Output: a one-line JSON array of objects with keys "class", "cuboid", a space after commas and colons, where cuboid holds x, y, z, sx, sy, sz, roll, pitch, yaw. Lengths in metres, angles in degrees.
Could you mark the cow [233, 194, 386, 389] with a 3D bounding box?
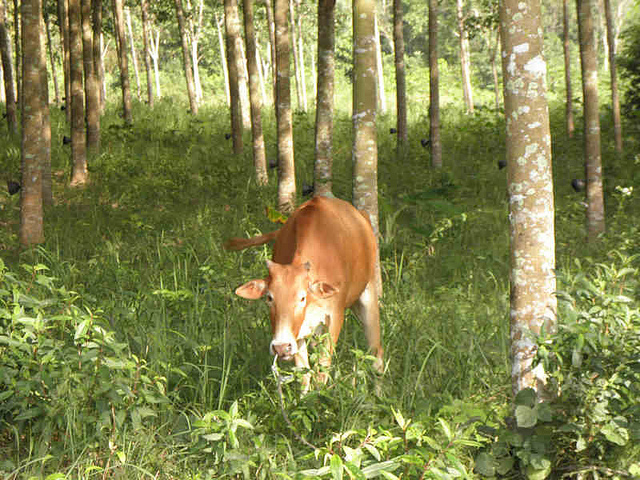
[{"class": "cow", "cuboid": [0.008, 0.621, 8.444, 0.992, 2.187, 2.340, 3, 10, 27]}]
